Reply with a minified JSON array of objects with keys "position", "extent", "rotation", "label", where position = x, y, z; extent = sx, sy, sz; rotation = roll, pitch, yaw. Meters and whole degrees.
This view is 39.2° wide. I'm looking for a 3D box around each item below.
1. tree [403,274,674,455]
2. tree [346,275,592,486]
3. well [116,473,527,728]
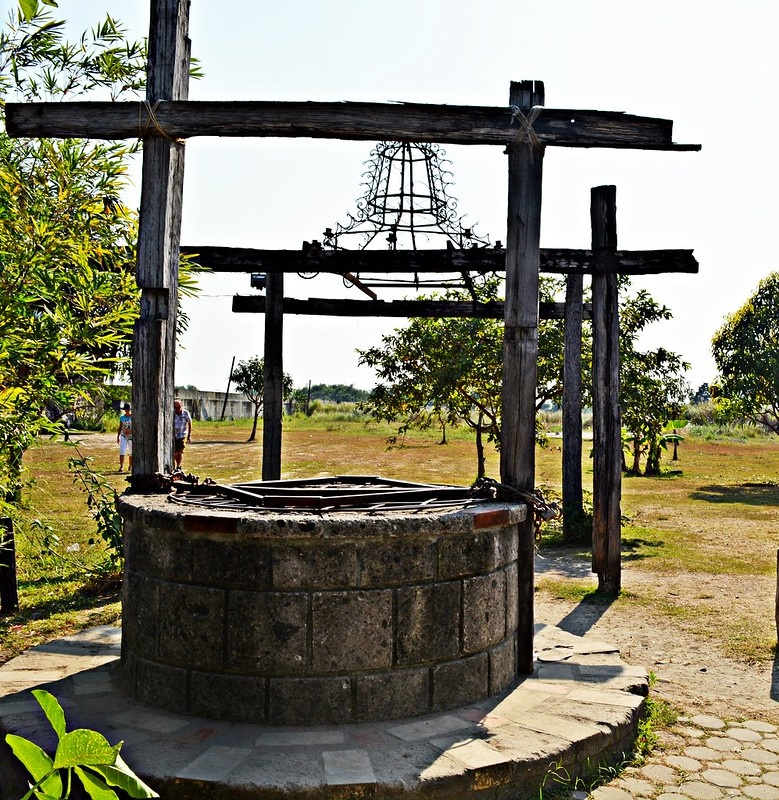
[{"position":[1.119,-0.360,12.552],"extent":[2.255,1.718,2.363],"rotation":[-3,6,5],"label":"tree"},{"position":[1.074,-0.352,12.811],"extent":[2.610,2.808,2.256],"rotation":[-1,-3,-5],"label":"tree"},{"position":[-0.453,1.027,5.533],"extent":[1.298,0.735,1.353],"rotation":[-1,-4,27],"label":"well"}]
